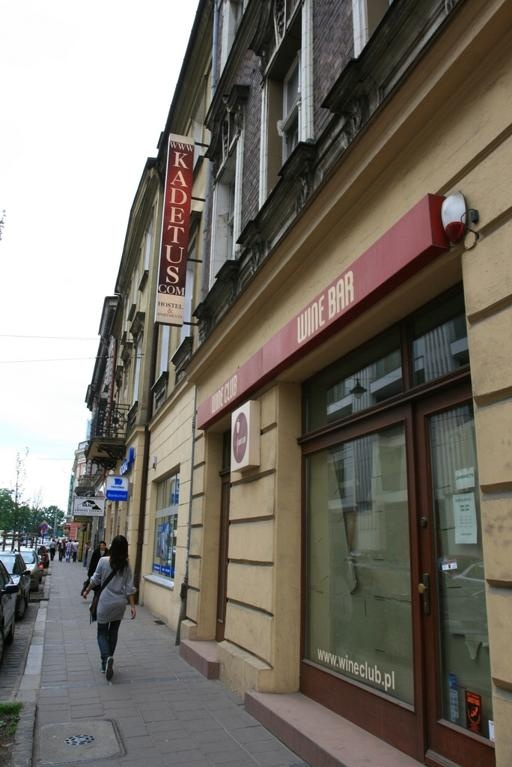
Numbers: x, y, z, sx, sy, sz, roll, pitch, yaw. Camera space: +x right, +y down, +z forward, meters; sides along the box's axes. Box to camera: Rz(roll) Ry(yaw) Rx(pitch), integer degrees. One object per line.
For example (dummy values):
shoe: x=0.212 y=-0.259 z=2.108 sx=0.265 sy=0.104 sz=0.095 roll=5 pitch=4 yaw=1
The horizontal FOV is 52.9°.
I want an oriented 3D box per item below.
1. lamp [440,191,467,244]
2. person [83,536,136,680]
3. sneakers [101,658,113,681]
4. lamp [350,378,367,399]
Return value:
lamp: x=0.977 y=-0.824 z=2.578 sx=0.113 sy=0.352 sz=0.051 roll=-12 pitch=-38 yaw=33
person: x=-1.740 y=2.717 z=6.308 sx=0.513 sy=1.606 sz=0.731 roll=11 pitch=-16 yaw=-39
sneakers: x=-1.716 y=3.318 z=5.945 sx=0.070 sy=0.303 sz=0.095 roll=1 pitch=7 yaw=-23
lamp: x=0.852 y=0.040 z=4.360 sx=0.092 sy=0.206 sz=0.110 roll=-3 pitch=-8 yaw=26
